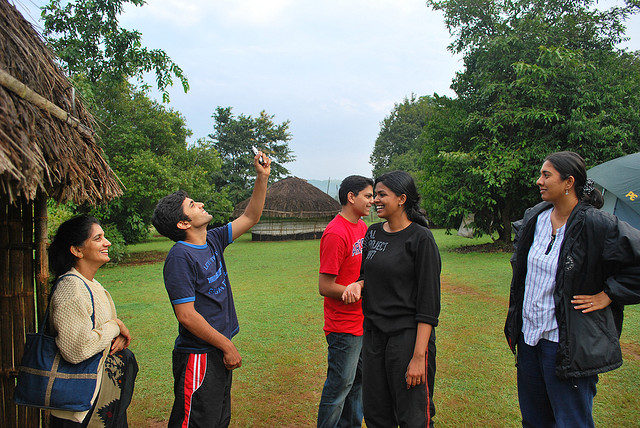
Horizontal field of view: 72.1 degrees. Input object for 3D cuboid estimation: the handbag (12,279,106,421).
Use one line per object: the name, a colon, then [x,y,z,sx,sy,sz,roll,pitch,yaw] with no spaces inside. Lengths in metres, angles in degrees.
handbag: [-2.258,1.118,3.714,0.818,1.149,0.332,3,2,6]

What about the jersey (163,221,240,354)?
jersey: [-1.025,0.611,4.027,0.481,1.024,0.734,3,2,24]

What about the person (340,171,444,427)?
person: [0.688,0.756,3.893,0.731,2.269,0.414,3,2,25]

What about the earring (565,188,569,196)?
earring: [2.243,-0.202,3.988,0.038,0.048,0.014,1,2,-39]

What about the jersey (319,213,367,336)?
jersey: [0.196,0.593,4.553,0.531,1.157,0.475,2,-1,-3]

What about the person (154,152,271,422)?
person: [-1.009,0.653,4.020,0.919,2.365,0.662,2,2,-29]

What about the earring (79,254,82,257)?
earring: [-2.117,0.365,3.877,0.023,0.021,0.023,1,3,-8]

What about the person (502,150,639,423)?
person: [2.235,0.712,3.963,1.030,2.173,0.588,4,2,31]
